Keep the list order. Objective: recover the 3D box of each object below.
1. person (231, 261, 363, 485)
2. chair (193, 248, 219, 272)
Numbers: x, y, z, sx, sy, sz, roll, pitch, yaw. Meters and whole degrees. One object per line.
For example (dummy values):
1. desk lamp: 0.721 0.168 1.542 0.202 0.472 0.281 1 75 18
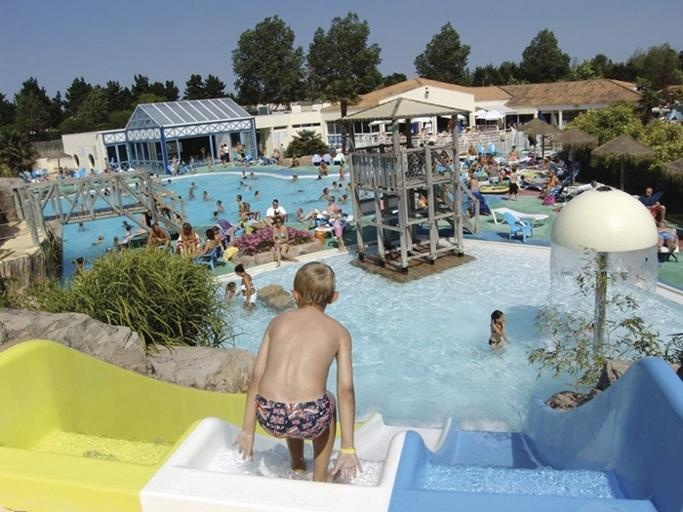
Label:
1. person: -0.248 0.885 3.406 0.859 1.610 0.884 4 9 1
2. chair: -3.563 0.099 12.706 0.467 0.656 0.483 3 15 -8
